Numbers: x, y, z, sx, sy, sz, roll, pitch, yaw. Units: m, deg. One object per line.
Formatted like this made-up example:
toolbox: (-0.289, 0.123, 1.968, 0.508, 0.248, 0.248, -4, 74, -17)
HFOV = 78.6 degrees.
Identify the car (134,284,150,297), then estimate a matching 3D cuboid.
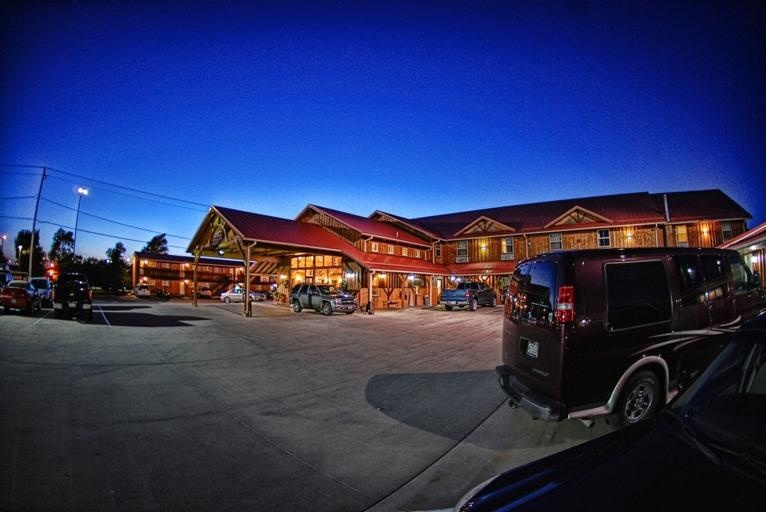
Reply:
car: (-25.364, 3.588, 49.437, 1.332, 1.266, 2.422, 1, 7, -33)

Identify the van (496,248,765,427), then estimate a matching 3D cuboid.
van: (4.218, 1.079, 8.376, 4.344, 2.167, 2.239, -12, 2, -17)

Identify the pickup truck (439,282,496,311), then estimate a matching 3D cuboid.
pickup truck: (5.657, 2.485, 29.553, 1.741, 1.169, 3.198, -1, -1, 42)

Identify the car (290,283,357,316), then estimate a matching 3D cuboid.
car: (-3.176, 2.424, 26.158, 1.726, 1.340, 3.115, 4, -7, -43)
